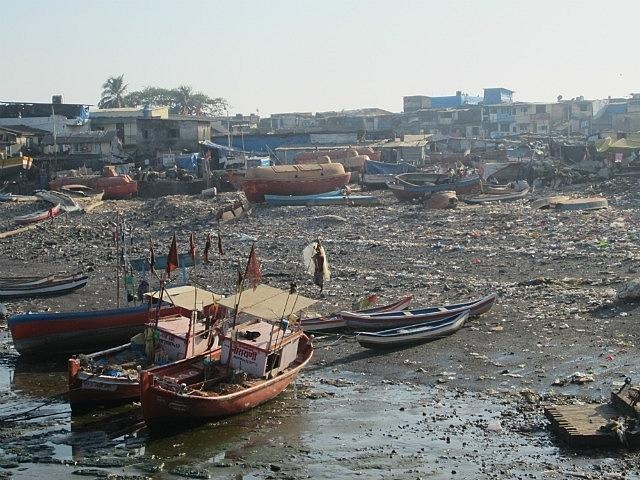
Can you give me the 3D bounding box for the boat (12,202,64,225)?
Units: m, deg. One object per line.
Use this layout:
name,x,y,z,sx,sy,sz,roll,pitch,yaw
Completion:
boat,-12.586,-1.125,41.422,0.674,0.401,3.116,-5,13,15

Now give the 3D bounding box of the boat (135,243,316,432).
boat,-1.895,2.264,22.290,2.101,3.264,6.037,22,20,29

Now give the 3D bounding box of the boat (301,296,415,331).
boat,1.059,2.055,25.929,3.004,0.448,0.614,-8,14,-19

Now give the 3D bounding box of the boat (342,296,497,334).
boat,2.803,2.082,25.715,3.887,0.556,0.733,-5,6,-16
